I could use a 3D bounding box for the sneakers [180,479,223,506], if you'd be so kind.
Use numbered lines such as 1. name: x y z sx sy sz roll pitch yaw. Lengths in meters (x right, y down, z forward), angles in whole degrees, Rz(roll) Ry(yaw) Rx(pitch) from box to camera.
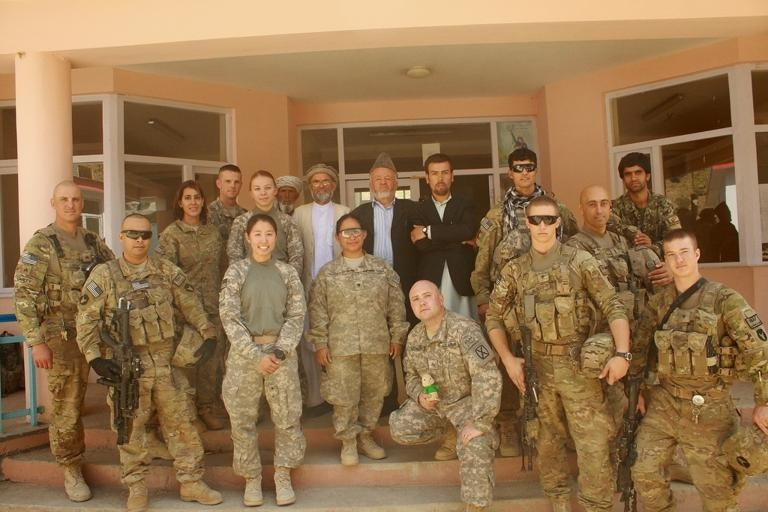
1. sneakers: -1.702 2.198 5.998 0.437 0.179 0.183 1 5 7

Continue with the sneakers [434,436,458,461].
1. sneakers: 0.602 1.910 6.294 0.134 0.122 0.320 -4 -8 27

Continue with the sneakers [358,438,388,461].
1. sneakers: -0.136 1.912 6.360 0.396 0.237 0.133 -2 -2 33

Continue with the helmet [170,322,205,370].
1. helmet: -1.847 0.864 6.164 0.288 0.360 0.300 -34 -33 5

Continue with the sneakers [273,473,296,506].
1. sneakers: -0.924 2.129 5.972 0.188 0.325 0.217 -3 3 -11

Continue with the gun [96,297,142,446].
1. gun: -2.356 1.032 5.909 0.647 1.355 0.311 0 -5 35

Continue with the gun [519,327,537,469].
1. gun: 1.301 1.290 5.743 0.125 1.337 0.366 -2 3 11

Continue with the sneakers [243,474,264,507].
1. sneakers: -1.232 2.170 5.967 0.181 0.260 0.207 -3 3 -13

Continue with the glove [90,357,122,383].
1. glove: -2.524 1.032 5.778 0.316 0.220 0.113 0 3 27

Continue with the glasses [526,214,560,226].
1. glasses: 1.415 -0.319 5.710 0.263 0.096 0.071 -1 3 9

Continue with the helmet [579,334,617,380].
1. helmet: 1.792 0.849 5.455 0.270 0.358 0.149 21 -7 38
